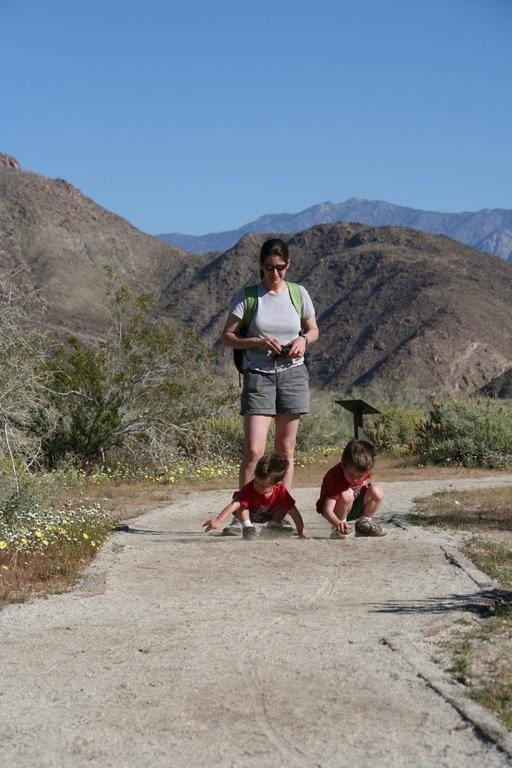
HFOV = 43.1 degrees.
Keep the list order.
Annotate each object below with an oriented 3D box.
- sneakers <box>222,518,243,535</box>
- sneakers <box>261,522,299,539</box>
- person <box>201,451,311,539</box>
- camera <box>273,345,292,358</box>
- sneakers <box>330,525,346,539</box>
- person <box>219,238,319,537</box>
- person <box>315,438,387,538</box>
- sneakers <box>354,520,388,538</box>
[{"bbox_3d":[-0.189,1.186,5.353,0.111,0.127,0.306,-2,-17,7],"label":"sneakers"},{"bbox_3d":[0.177,1.129,4.996,0.294,0.130,0.101,10,11,11],"label":"sneakers"},{"bbox_3d":[0.011,0.849,4.833,0.653,0.656,0.766,8,4,40],"label":"person"},{"bbox_3d":[0.192,-0.234,4.783,0.087,0.049,0.112,16,-36,-34],"label":"camera"},{"bbox_3d":[0.628,1.125,4.943,0.121,0.085,0.217,-1,-3,7],"label":"sneakers"},{"bbox_3d":[0.119,-0.158,4.906,0.726,1.909,0.525,0,-3,-5],"label":"person"},{"bbox_3d":[0.758,0.816,5.009,0.544,0.754,0.560,1,-3,-34],"label":"person"},{"bbox_3d":[0.899,1.140,5.139,0.233,0.140,0.116,-1,2,3],"label":"sneakers"}]
